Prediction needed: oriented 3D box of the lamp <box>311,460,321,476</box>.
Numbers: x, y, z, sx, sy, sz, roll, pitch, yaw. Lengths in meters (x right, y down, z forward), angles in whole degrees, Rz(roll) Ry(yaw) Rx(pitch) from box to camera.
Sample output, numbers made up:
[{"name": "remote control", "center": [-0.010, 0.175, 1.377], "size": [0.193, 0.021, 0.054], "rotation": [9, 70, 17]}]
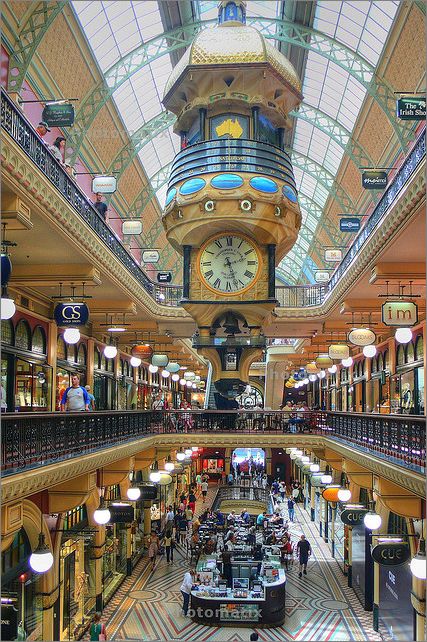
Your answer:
[{"name": "lamp", "center": [3.888, 5.656, 21.100], "size": [0.397, 0.372, 0.905], "rotation": [0, -11, 8]}]

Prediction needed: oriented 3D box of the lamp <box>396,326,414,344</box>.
[{"name": "lamp", "center": [3.697, 0.281, 10.518], "size": [0.301, 0.308, 0.069], "rotation": [-28, -12, 35]}]

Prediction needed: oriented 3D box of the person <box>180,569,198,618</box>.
[{"name": "person", "center": [-0.696, 7.531, 15.334], "size": [0.365, 1.109, 0.760], "rotation": [3, -11, -7]}]

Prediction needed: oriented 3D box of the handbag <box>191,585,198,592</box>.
[{"name": "handbag", "center": [-0.501, 7.288, 15.161], "size": [0.054, 0.149, 0.104], "rotation": [31, -11, -38]}]

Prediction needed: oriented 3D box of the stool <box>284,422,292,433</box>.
[{"name": "stool", "center": [2.689, 3.793, 19.657], "size": [0.235, 0.244, 0.435], "rotation": [-1, 4, 4]}]

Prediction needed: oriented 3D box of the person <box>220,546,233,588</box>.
[{"name": "person", "center": [0.398, 7.000, 15.742], "size": [0.289, 0.937, 0.697], "rotation": [3, -11, -4]}]

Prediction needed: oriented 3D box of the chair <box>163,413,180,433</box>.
[{"name": "chair", "center": [-1.516, 3.763, 20.382], "size": [0.555, 0.709, 2.279], "rotation": [3, -11, -4]}]

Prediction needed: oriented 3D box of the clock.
[{"name": "clock", "center": [0.497, -1.448, 14.655], "size": [1.526, 1.582, 0.110], "rotation": [4, -7, 6]}]

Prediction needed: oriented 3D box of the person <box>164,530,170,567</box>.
[{"name": "person", "center": [-1.757, 8.805, 21.660], "size": [0.256, 1.125, 0.905], "rotation": [3, -11, -5]}]

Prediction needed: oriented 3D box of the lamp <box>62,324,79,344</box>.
[{"name": "lamp", "center": [-2.903, 0.291, 11.224], "size": [0.304, 0.309, 0.540], "rotation": [5, -11, -18]}]
